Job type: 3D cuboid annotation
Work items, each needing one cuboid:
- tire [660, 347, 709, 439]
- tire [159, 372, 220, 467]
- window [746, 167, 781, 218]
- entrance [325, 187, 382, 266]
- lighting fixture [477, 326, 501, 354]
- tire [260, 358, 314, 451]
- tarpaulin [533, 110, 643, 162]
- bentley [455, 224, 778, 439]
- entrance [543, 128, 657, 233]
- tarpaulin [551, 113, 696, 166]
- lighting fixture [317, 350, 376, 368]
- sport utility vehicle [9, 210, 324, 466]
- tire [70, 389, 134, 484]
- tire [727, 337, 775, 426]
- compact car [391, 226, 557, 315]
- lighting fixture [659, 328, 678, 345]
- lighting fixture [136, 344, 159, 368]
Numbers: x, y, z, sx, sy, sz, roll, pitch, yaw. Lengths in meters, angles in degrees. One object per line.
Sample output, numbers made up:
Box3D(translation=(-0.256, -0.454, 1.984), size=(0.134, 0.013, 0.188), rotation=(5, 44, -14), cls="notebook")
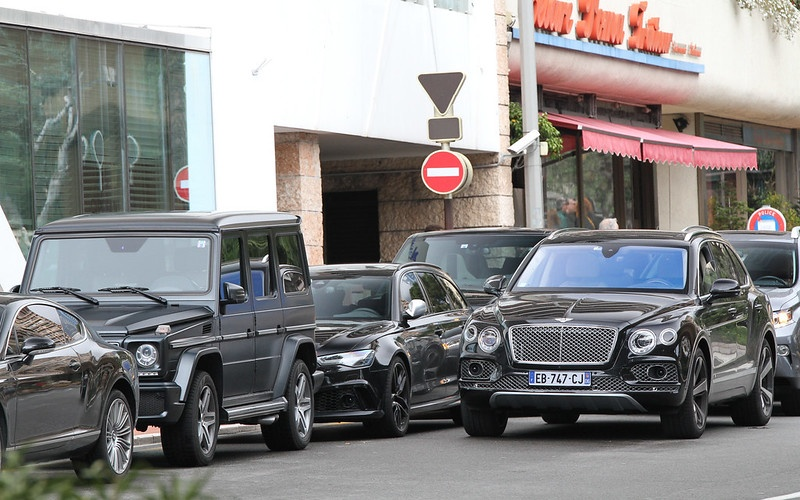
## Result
Box3D(translation=(3.467, 1.739, 10.212), size=(0.384, 1.106, 1.104), rotation=(-2, 6, 23), cls="tire")
Box3D(translation=(-2.232, 1.850, 9.092), size=(0.692, 0.870, 0.304), rotation=(-4, 2, -44), cls="tire")
Box3D(translation=(17.689, -3.052, 40.884), size=(2.297, 3.084, 1.366), rotation=(-5, 5, -38), cls="window")
Box3D(translation=(-1.390, -0.835, 26.157), size=(2.287, 3.230, 0.230), rotation=(1, 10, 18), cls="entrance")
Box3D(translation=(1.126, 1.133, 10.442), size=(0.306, 0.316, 0.077), rotation=(1, -8, 27), cls="lighting fixture")
Box3D(translation=(-1.426, 1.917, 10.394), size=(0.302, 0.953, 0.954), rotation=(-5, -24, 18), cls="tire")
Box3D(translation=(6.245, -3.465, 25.818), size=(2.163, 1.431, 4.063), rotation=(-2, 1, 29), cls="tarpaulin")
Box3D(translation=(3.068, 1.176, 11.149), size=(4.543, 2.864, 2.220), rotation=(-3, 2, -33), cls="bentley")
Box3D(translation=(6.929, -2.492, 29.574), size=(1.381, 2.909, 4.469), rotation=(-5, -4, 30), cls="entrance")
Box3D(translation=(7.589, -3.536, 26.718), size=(3.714, 0.826, 1.232), rotation=(9, 11, -5), cls="tarpaulin")
Box3D(translation=(-0.722, 1.450, 11.126), size=(0.735, 0.175, 0.122), rotation=(-2, 1, 1), cls="lighting fixture")
Box3D(translation=(-3.055, 1.070, 10.719), size=(3.065, 3.017, 5.357), rotation=(-1, -4, 6), cls="sport utility vehicle")
Box3D(translation=(-3.052, 1.908, 8.562), size=(0.362, 0.946, 0.945), rotation=(-5, -8, -1), cls="tire")
Box3D(translation=(5.197, 1.939, 12.346), size=(0.435, 1.256, 1.273), rotation=(-2, 10, 32), cls="tire")
Box3D(translation=(1.240, 0.385, 15.543), size=(2.418, 1.142, 1.487), rotation=(-1, 2, 6), cls="compact car")
Box3D(translation=(3.242, 1.048, 10.085), size=(0.188, 0.191, 0.043), rotation=(-7, -13, -6), cls="lighting fixture")
Box3D(translation=(-2.672, 1.109, 8.823), size=(0.217, 0.222, 0.079), rotation=(8, 0, 1), cls="lighting fixture")
